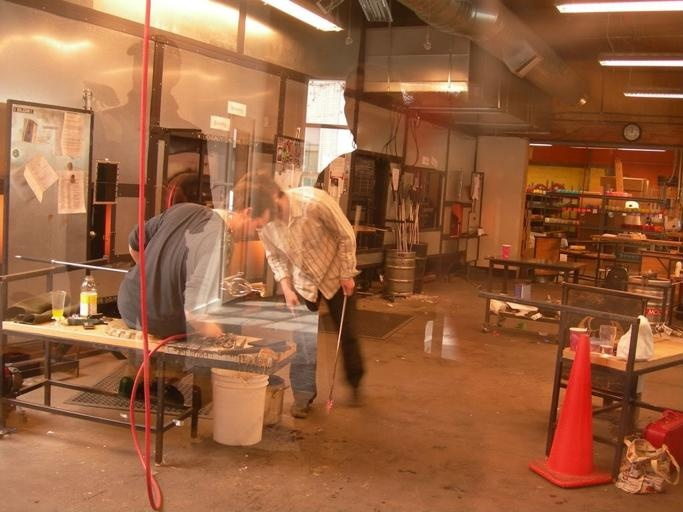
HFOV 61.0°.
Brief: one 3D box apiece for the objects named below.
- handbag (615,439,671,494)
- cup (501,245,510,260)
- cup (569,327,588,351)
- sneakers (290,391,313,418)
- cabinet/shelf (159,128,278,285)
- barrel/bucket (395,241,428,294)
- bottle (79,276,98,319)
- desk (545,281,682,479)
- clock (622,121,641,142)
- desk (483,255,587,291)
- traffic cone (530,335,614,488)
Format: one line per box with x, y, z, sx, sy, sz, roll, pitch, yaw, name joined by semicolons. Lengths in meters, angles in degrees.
1.566;1.079;3.068;0.269;0.236;0.265;4;0;-27;handbag
0.985;-0.024;3.470;0.073;0.079;0.073;1;1;0;cup
1.282;0.454;3.177;0.114;0.113;0.114;0;1;0;cup
-0.236;0.886;3.479;0.106;0.146;0.036;17;-12;-27;sneakers
-0.544;-0.240;2.682;0.657;0.631;0.165;9;11;31;cabinet/shelf
0.534;0.074;4.002;0.263;0.428;0.258;-1;7;0;barrel/bucket
-1.346;0.216;3.090;0.084;0.181;0.159;-3;15;-25;bottle
1.502;0.694;3.212;0.509;0.943;1.035;2;2;41;desk
1.803;-0.768;3.613;0.128;0.129;0.029;-11;-1;4;clock
1.156;0.108;3.457;0.559;0.193;0.422;7;14;11;desk
1.229;0.791;2.989;0.312;0.754;0.311;-5;16;-32;traffic cone
